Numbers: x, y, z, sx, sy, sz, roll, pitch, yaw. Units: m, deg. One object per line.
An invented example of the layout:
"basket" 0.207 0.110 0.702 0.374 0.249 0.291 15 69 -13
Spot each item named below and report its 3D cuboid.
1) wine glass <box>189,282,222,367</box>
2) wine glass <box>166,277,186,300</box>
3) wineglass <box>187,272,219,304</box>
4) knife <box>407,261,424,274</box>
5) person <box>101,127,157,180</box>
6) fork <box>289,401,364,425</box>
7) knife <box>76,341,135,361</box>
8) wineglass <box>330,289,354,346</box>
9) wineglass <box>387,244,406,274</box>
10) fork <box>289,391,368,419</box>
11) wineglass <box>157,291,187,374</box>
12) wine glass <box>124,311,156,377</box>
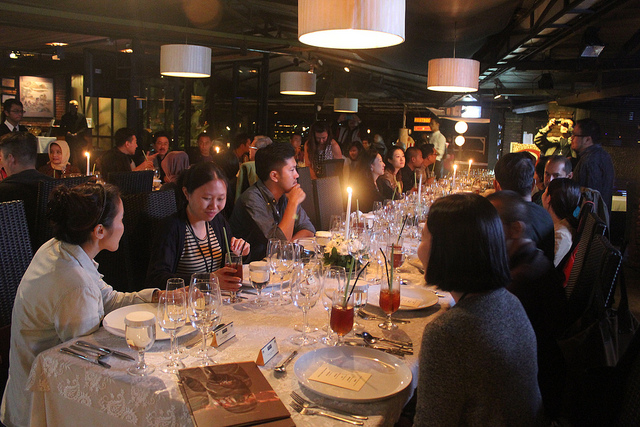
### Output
"wine glass" -0.484 0.465 2.009 0.130 0.307 0.206 -3 9 -12
"wine glass" -0.648 0.341 2.170 0.085 0.086 0.087 1 -4 0
"wineglass" -0.530 0.336 2.159 0.116 0.118 0.120 1 -1 1
"knife" 0.660 0.370 3.270 0.023 0.019 0.127 30 7 -36
"person" -2.824 -0.604 6.986 0.716 1.207 0.673 4 6 -20
"fork" 0.019 0.743 1.771 0.185 0.027 0.025 9 16 11
"knife" -0.916 0.584 2.022 0.249 0.011 0.035 17 5 13
"wineglass" 0.097 0.485 2.137 0.099 0.251 0.100 4 10 16
"wineglass" 0.488 0.277 3.050 0.121 0.199 0.119 4 11 11
"fork" 0.031 0.726 1.799 0.207 0.031 0.030 13 24 14
"wineglass" -0.619 0.486 2.000 0.120 0.291 0.282 -3 9 -14
"wine glass" -0.745 0.520 1.973 0.115 0.230 0.208 -4 9 -22
